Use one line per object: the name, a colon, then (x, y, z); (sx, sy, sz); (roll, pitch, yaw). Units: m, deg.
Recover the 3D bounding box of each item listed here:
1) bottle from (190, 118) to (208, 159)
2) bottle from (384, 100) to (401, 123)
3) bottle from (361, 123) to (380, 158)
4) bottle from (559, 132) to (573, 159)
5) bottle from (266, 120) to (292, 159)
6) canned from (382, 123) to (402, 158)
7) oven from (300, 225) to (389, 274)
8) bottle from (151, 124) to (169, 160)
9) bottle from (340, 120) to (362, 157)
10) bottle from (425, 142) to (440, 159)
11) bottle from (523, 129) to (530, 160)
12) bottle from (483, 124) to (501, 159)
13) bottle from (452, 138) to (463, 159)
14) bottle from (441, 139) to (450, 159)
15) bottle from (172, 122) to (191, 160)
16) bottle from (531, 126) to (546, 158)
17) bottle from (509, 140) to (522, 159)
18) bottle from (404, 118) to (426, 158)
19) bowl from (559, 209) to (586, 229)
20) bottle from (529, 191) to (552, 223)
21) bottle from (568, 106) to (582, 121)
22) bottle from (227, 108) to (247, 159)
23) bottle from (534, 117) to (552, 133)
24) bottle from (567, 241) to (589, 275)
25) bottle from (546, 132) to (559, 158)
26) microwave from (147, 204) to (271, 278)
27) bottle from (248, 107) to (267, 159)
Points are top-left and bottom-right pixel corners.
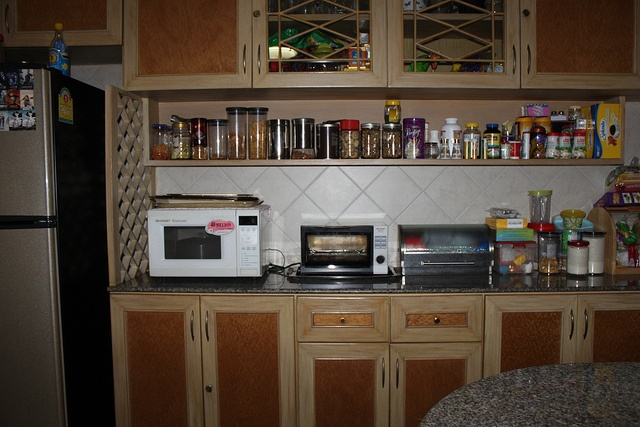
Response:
bottle: (-0.778, -0.476, 3.700); (0.102, 0.254, 0.054); (-1, 1, -10)
bottle: (0.462, -0.646, 3.684); (0.136, 0.181, 0.132); (1, -4, 0)
bottle: (0.327, -0.458, 3.673); (0.132, 0.226, 0.079); (-1, 1, -3)
bottle: (1.564, -0.429, 3.670); (0.070, 0.164, 0.024); (-1, 1, -5)
bottle: (-0.236, -0.469, 3.707); (0.196, 0.250, 0.097); (-2, 2, -41)
canned: (0.461, -0.461, 3.678); (0.125, 0.221, 0.062); (-1, 1, 7)
oven: (0.153, 0.211, 3.721); (0.539, 0.293, 0.317); (0, -3, 2)
bottle: (-1.040, -0.457, 3.726); (0.129, 0.219, 0.086); (-1, 1, 0)
bottle: (0.192, -0.468, 3.658); (0.118, 0.236, 0.048); (-1, 1, 3)
bottle: (0.717, -0.402, 3.711); (0.103, 0.111, 0.100); (-1, 0, -1)
bottle: (1.322, -0.437, 3.687); (0.043, 0.177, 0.042); (-1, 1, 0)
bottle: (1.113, -0.462, 3.712); (0.109, 0.226, 0.076); (-1, 1, 3)
bottle: (0.894, -0.420, 3.715); (0.098, 0.130, 0.037); (-2, 2, -43)
bottle: (0.804, -0.418, 3.706); (0.070, 0.119, 0.025); (0, 1, 27)
bottle: (-0.895, -0.466, 3.694); (0.124, 0.243, 0.058); (-1, 1, -13)
bottle: (1.403, -0.462, 3.710); (0.102, 0.217, 0.060); (-1, 1, -7)
bottle: (1.263, -0.410, 3.704); (0.088, 0.112, 0.029); (-1, 1, -19)
bottle: (0.599, -0.474, 3.676); (0.137, 0.254, 0.060); (-1, 1, 8)
bowl: (1.665, 0.034, 3.765); (0.133, 0.089, 0.129); (0, 0, 0)
bottle: (1.476, -0.049, 3.862); (0.148, 0.219, 0.275); (0, 1, 21)
bottle: (1.671, -0.654, 3.775); (0.076, 0.106, 0.110); (0, 1, 22)
bottle: (-0.531, -0.507, 3.686); (0.128, 0.328, 0.072); (-1, 1, -3)
bottle: (1.451, -0.584, 3.786); (0.107, 0.109, 0.107); (-3, 3, -37)
bottle: (1.633, 0.280, 3.627); (0.135, 0.213, 0.074); (0, 1, 11)
bottle: (1.483, -0.433, 3.678); (0.083, 0.162, 0.032); (0, 1, 20)
microwave: (-0.707, 0.162, 3.767); (0.659, 0.396, 0.445); (0, -2, -1)
bottle: (-0.400, -0.506, 3.674); (0.126, 0.328, 0.060); (-1, 1, -7)
